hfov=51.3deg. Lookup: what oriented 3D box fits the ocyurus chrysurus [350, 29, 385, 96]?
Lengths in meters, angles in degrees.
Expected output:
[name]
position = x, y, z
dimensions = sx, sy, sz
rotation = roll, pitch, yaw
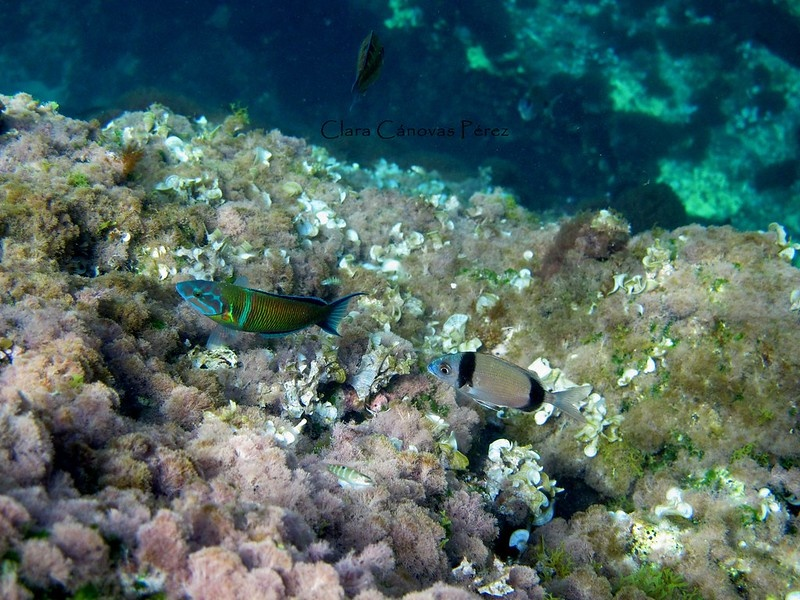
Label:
[ocyurus chrysurus]
position = -0.378, -2.864, 10.032
dimensions = 0.260, 0.974, 0.510
rotation = 16, 50, 5
